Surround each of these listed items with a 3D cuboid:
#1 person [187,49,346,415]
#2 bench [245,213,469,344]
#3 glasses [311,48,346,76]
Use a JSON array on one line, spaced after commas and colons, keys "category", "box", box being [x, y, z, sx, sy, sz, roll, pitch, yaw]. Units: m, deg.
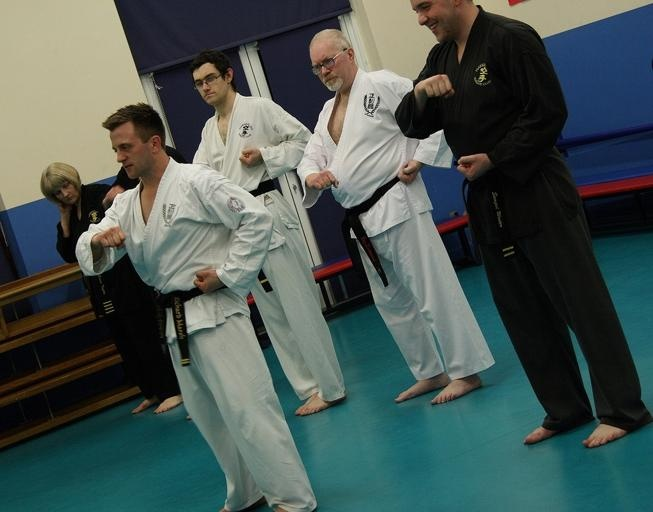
[{"category": "person", "box": [-0.554, -0.183, 3.733, 1.011, 2.697, 0.805, -9, 0, 5]}, {"category": "bench", "box": [0.320, 0.377, 5.972, 2.252, 1.077, 1.515, -31, 8, -25]}, {"category": "glasses", "box": [0.015, -1.253, 3.099, 0.165, 0.050, 0.154, -46, 14, -28]}]
